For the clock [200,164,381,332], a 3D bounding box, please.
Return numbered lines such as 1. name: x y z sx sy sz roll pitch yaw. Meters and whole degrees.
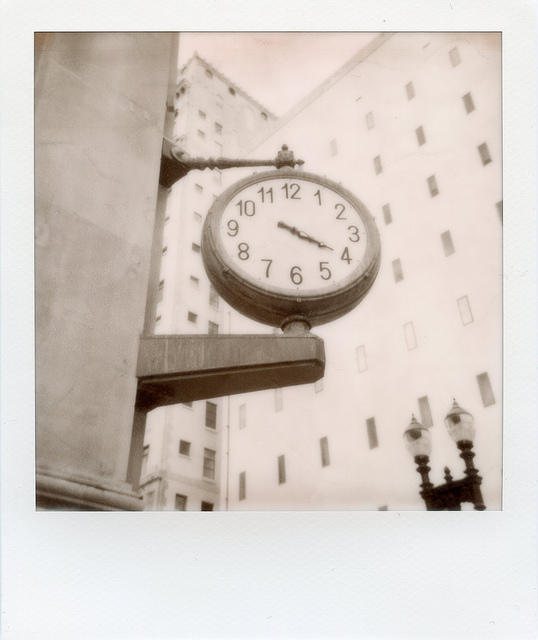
1. clock: 0.116 -0.384 4.320 0.872 1.028 0.174 2 -26 -10
